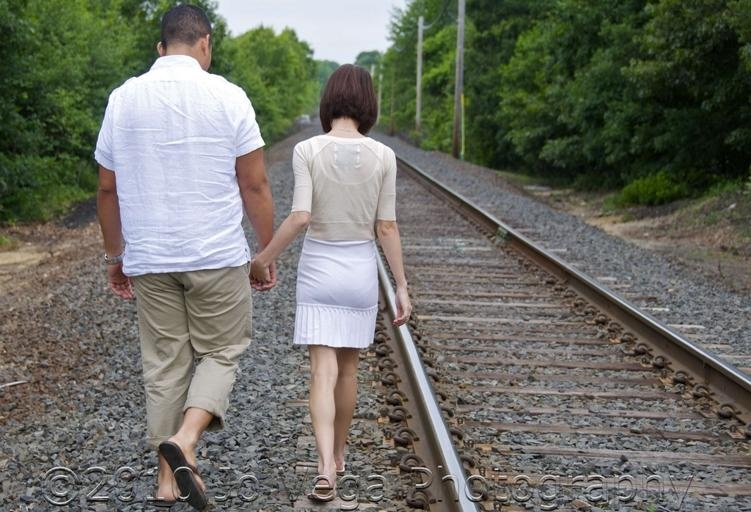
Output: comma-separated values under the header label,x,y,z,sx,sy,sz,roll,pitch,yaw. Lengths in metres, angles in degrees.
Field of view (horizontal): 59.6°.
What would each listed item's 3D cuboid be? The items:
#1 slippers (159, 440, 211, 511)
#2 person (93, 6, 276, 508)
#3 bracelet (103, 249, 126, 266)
label,x,y,z,sx,sy,sz,roll,pitch,yaw
slippers,-1.274,1.468,4.360,0.314,0.534,0.159,12,21,36
person,-1.253,-0.114,4.522,1.123,3.075,1.191,-9,19,-24
bracelet,-1.942,0.003,4.888,0.172,0.070,0.182,0,4,5
